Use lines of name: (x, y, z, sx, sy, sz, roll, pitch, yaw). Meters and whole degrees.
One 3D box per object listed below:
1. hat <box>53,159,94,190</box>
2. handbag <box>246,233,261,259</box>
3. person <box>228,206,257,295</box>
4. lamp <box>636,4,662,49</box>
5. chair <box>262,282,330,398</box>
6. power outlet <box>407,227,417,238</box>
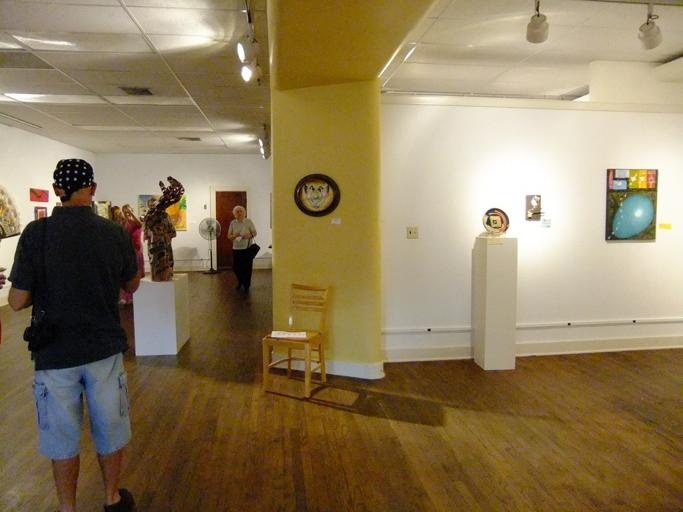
hat: (-1.820, -0.570, 3.390, 0.190, 0.286, 0.217, -3, -38, -13)
handbag: (-1.805, -0.174, 10.052, 0.205, 0.512, 0.494, -2, 12, -10)
person: (-2.010, -0.163, 10.126, 0.563, 1.794, 1.087, -2, 11, -11)
lamp: (3.116, -2.341, 5.001, 0.207, 0.245, 0.502, 17, -9, 25)
chair: (-0.520, 0.849, 5.238, 0.748, 0.996, 0.822, 2, 12, 10)
power outlet: (0.821, -0.281, 5.789, 0.116, 0.129, 0.017, 0, 5, -6)
